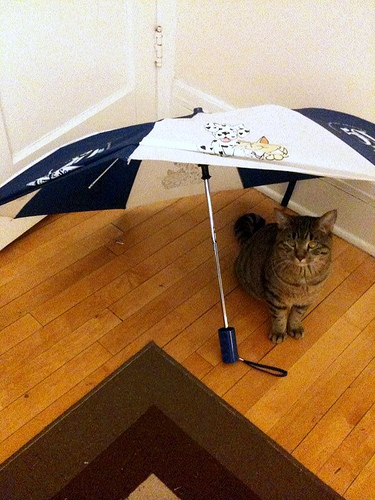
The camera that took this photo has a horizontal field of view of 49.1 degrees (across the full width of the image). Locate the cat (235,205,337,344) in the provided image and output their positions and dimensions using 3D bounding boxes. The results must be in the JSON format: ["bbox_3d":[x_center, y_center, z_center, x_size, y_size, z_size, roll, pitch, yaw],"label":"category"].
[{"bbox_3d":[0.357,0.121,1.513,0.217,0.428,0.540,-5,48,0],"label":"cat"}]
